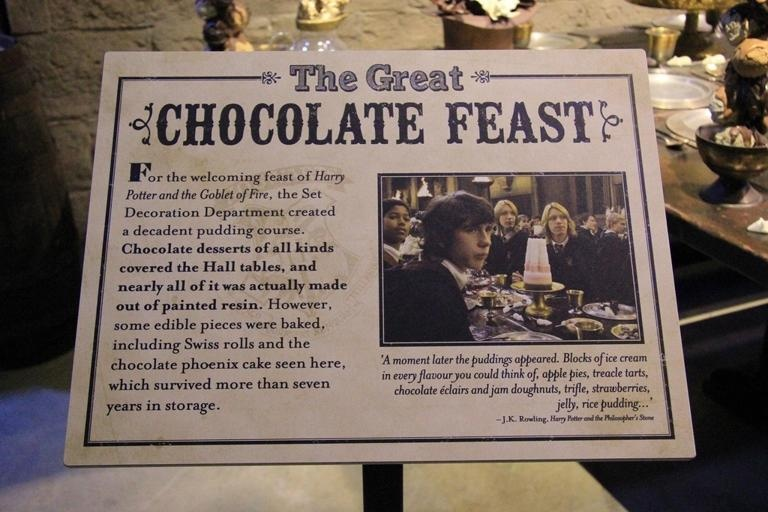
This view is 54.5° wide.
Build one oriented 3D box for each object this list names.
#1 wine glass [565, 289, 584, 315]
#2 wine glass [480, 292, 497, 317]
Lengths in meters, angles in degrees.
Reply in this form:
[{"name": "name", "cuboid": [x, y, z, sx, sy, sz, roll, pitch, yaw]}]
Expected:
[{"name": "wine glass", "cuboid": [0.454, 0.107, 1.766, 0.050, 0.051, 0.062, 0, 88, 3]}, {"name": "wine glass", "cuboid": [0.245, 0.112, 1.764, 0.051, 0.052, 0.063, 0, 81, -3]}]
